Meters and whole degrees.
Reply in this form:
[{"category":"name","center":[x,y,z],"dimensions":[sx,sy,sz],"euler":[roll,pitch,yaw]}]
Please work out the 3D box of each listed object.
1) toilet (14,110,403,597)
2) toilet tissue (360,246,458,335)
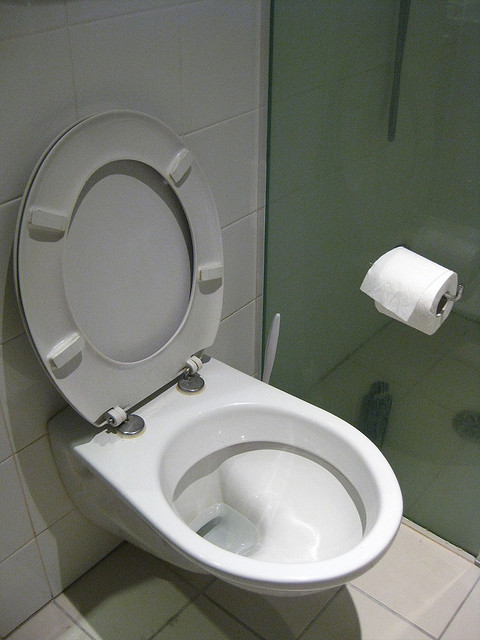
[{"category":"toilet","center":[-0.026,0.110,0.729],"dimensions":[0.346,0.743,0.510],"euler":[-26,35,-36]},{"category":"toilet tissue","center":[0.302,-0.044,0.926],"dimensions":[0.142,0.136,0.128],"euler":[35,-20,35]}]
